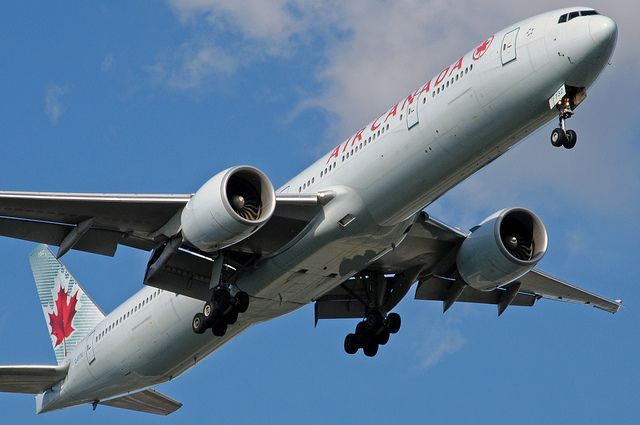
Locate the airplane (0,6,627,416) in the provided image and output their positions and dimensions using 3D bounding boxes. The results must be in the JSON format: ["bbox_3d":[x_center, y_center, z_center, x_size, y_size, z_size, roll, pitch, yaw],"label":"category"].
[{"bbox_3d":[-0.159,0.468,22.674,11.894,12.410,4.537,26,37,-41],"label":"airplane"}]

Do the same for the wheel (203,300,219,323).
[{"bbox_3d":[-2.722,2.502,23.156,0.184,0.544,0.526,9,-3,-32],"label":"wheel"}]

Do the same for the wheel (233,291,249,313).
[{"bbox_3d":[-1.984,2.245,23.181,0.192,0.518,0.502,5,-4,-25],"label":"wheel"}]

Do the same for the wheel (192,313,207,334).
[{"bbox_3d":[-3.037,2.819,23.442,0.150,0.423,0.419,11,28,-35],"label":"wheel"}]
